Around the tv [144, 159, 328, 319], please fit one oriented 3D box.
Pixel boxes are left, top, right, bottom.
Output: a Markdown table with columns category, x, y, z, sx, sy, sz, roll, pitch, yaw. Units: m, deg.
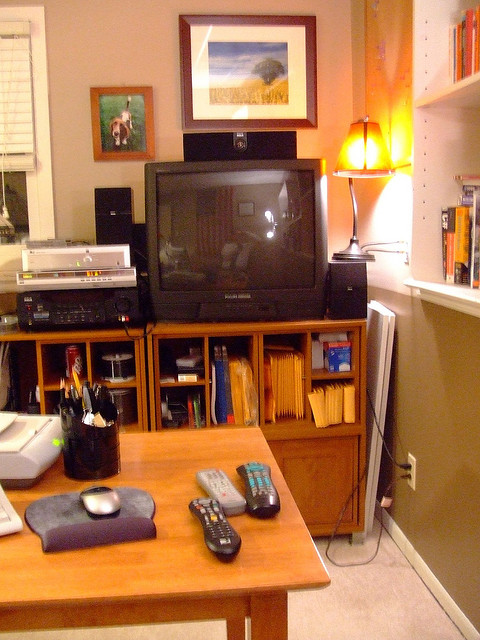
| category | x | y | z | sx | sy | sz | roll | pitch | yaw |
| --- | --- | --- | --- | --- | --- | --- | --- | --- | --- |
| tv | -0.011 | -0.287 | 2.213 | 0.676 | 0.628 | 0.379 | -1 | 1 | -2 |

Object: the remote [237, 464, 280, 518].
| category | x | y | z | sx | sy | sz | roll | pitch | yaw |
| --- | --- | --- | --- | --- | --- | --- | --- | --- | --- |
| remote | 0.035 | 0.288 | 0.945 | 0.056 | 0.044 | 0.179 | -8 | 6 | -3 |

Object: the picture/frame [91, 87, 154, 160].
| category | x | y | z | sx | sy | sz | roll | pitch | yaw |
| --- | --- | --- | --- | --- | --- | --- | --- | --- | --- |
| picture/frame | -0.528 | -0.881 | 2.425 | 0.287 | 0.348 | 0.025 | -2 | 7 | -4 |

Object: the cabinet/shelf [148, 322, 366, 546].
| category | x | y | z | sx | sy | sz | roll | pitch | yaw |
| --- | --- | --- | --- | --- | --- | --- | --- | --- | --- |
| cabinet/shelf | 0.085 | 0.319 | 1.679 | 0.790 | 0.797 | 0.262 | -1 | 3 | -5 |

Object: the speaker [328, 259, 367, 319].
| category | x | y | z | sx | sy | sz | roll | pitch | yaw |
| --- | --- | --- | --- | --- | --- | --- | --- | --- | --- |
| speaker | 0.419 | -0.110 | 2.127 | 0.149 | 0.216 | 0.134 | -1 | 0 | -7 |

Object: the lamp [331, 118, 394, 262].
| category | x | y | z | sx | sy | sz | roll | pitch | yaw |
| --- | --- | --- | --- | --- | --- | --- | --- | --- | --- |
| lamp | 0.476 | -0.490 | 2.078 | 0.211 | 0.520 | 0.217 | 1 | 14 | 11 |

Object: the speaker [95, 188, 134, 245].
| category | x | y | z | sx | sy | sz | roll | pitch | yaw |
| --- | --- | --- | --- | --- | --- | --- | --- | --- | --- |
| speaker | -0.548 | -0.441 | 2.347 | 0.180 | 0.243 | 0.087 | -2 | 7 | 2 |

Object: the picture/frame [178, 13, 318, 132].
| category | x | y | z | sx | sy | sz | roll | pitch | yaw |
| --- | --- | --- | --- | --- | --- | --- | --- | --- | --- |
| picture/frame | 0.016 | -1.112 | 2.423 | 0.574 | 0.456 | 0.044 | -1 | 6 | -6 |
